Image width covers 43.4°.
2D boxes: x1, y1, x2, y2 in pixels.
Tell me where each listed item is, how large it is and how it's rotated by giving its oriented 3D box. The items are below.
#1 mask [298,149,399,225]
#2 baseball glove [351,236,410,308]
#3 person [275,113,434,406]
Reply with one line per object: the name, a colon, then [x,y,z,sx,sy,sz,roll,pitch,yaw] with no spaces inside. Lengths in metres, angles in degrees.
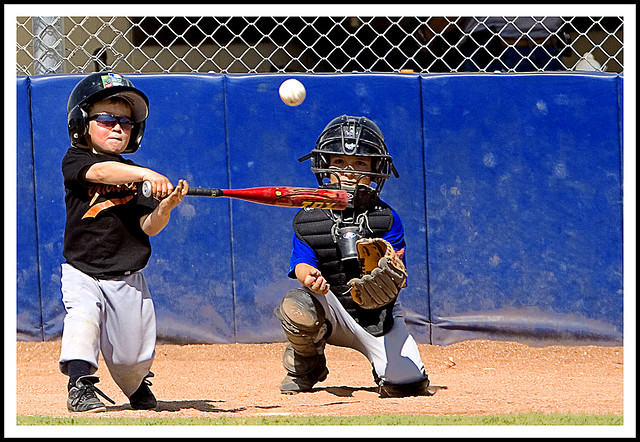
mask: [0.213,-0.216,5.122,0.543,0.388,0.369,1,0,0]
baseball glove: [0.365,0.303,4.931,0.355,0.411,0.199,-9,3,6]
person: [0.189,0.218,5.064,0.920,1.482,0.567,1,0,-3]
